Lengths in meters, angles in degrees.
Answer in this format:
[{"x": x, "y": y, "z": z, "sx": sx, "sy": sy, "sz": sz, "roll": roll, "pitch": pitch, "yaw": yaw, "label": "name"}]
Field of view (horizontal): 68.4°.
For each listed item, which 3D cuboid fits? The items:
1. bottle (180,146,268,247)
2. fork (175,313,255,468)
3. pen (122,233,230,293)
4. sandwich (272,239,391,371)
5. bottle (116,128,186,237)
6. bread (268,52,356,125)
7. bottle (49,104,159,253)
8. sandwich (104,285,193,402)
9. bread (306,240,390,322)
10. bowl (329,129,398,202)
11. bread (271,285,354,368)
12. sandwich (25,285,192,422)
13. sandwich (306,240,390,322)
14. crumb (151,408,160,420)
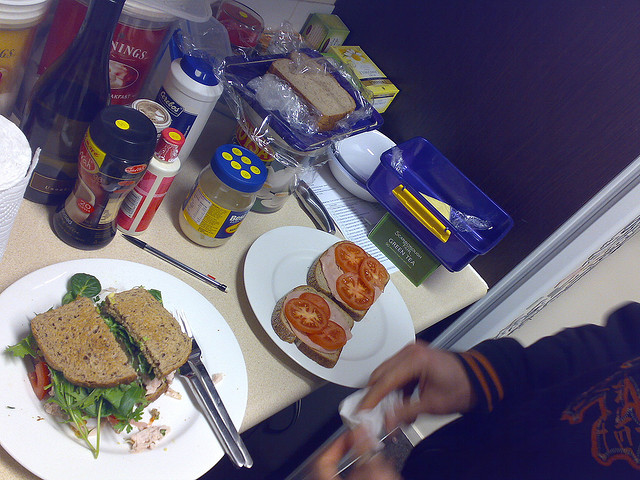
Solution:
[{"x": -0.187, "y": -0.082, "z": 0.895, "sx": 0.113, "sy": 0.165, "sz": 0.115, "roll": 27, "pitch": 31, "yaw": -18, "label": "bottle"}, {"x": -0.165, "y": 0.228, "z": 0.716, "sx": 0.035, "sy": 0.015, "sz": 0.302, "roll": -13, "pitch": 68, "yaw": -51, "label": "fork"}, {"x": -0.261, "y": 0.042, "z": 0.855, "sx": 0.211, "sy": 0.024, "sz": 0.016, "roll": 25, "pitch": 41, "yaw": -8, "label": "pen"}, {"x": 0.035, "y": 0.115, "z": 0.960, "sx": 0.154, "sy": 0.065, "sz": 0.266, "roll": 36, "pitch": 51, "yaw": 12, "label": "sandwich"}, {"x": -0.282, "y": -0.093, "z": 0.774, "sx": 0.069, "sy": 0.187, "sz": 0.070, "roll": 25, "pitch": 40, "yaw": -23, "label": "bottle"}, {"x": -0.018, "y": -0.322, "z": 0.985, "sx": 0.181, "sy": 0.167, "sz": 0.165, "roll": -3, "pitch": 37, "yaw": -2, "label": "bread"}, {"x": -0.344, "y": -0.090, "z": 0.743, "sx": 0.098, "sy": 0.218, "sz": 0.098, "roll": 27, "pitch": 27, "yaw": -15, "label": "bottle"}, {"x": -0.251, "y": 0.139, "z": 0.695, "sx": 0.144, "sy": 0.038, "sz": 0.152, "roll": 1, "pitch": 63, "yaw": -52, "label": "sandwich"}, {"x": 0.058, "y": 0.081, "z": 1.027, "sx": 0.152, "sy": 0.125, "sz": 0.144, "roll": 27, "pitch": 42, "yaw": 33, "label": "bread"}, {"x": 0.101, "y": -0.207, "z": 1.234, "sx": 0.192, "sy": 0.076, "sz": 0.195, "roll": 22, "pitch": 39, "yaw": -19, "label": "bowl"}, {"x": -0.015, "y": 0.160, "z": 0.899, "sx": 0.160, "sy": 0.038, "sz": 0.163, "roll": 36, "pitch": 26, "yaw": 6, "label": "bread"}, {"x": -0.302, "y": 0.157, "z": 0.681, "sx": 0.195, "sy": 0.066, "sz": 0.184, "roll": -20, "pitch": 62, "yaw": -42, "label": "sandwich"}, {"x": 0.064, "y": 0.081, "z": 0.998, "sx": 0.169, "sy": 0.048, "sz": 0.166, "roll": -23, "pitch": 63, "yaw": -38, "label": "sandwich"}, {"x": -0.236, "y": 0.248, "z": 0.676, "sx": 0.016, "sy": 0.004, "sz": 0.010, "roll": 46, "pitch": 43, "yaw": 16, "label": "crumb"}]
